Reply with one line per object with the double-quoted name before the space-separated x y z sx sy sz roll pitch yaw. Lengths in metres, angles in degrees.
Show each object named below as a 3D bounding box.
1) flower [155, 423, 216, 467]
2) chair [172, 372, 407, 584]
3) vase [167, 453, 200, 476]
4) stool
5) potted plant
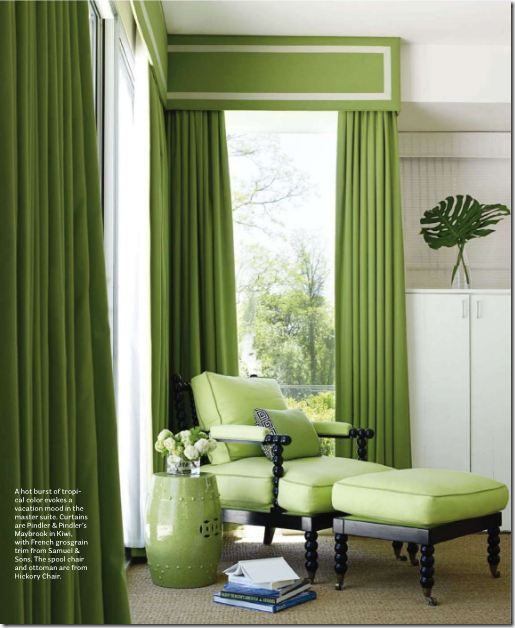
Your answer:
"flower" -0.286 0.519 2.492 0.167 0.130 0.170 1 -2 -3
"chair" 0.115 0.691 2.961 0.872 0.807 0.731 -8 -10 41
"vase" -0.280 0.585 2.465 0.088 0.056 0.089 -3 -6 40
"stool" 0.602 0.685 2.413 0.460 0.438 0.614 -9 -12 44
"potted plant" 1.296 -0.445 4.011 0.578 0.618 0.275 2 2 33
